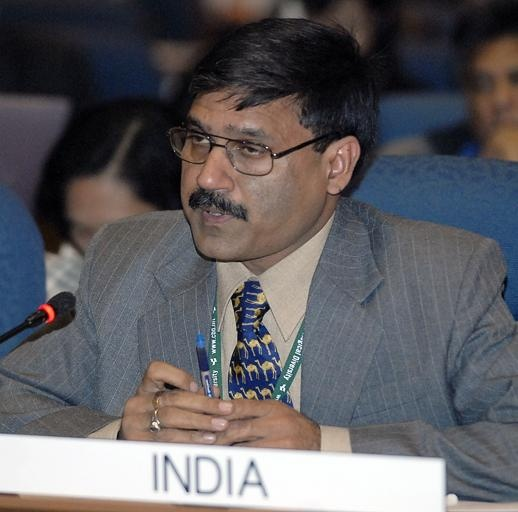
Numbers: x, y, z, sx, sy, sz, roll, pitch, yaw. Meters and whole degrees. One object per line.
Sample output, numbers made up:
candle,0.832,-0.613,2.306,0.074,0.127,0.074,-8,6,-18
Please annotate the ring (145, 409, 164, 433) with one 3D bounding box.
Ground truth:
ring,-0.211,0.332,1.298,0.025,0.042,0.038,-6,31,-10

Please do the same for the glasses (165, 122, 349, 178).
glasses,0.026,-0.252,1.484,0.396,0.089,0.155,-6,29,-12

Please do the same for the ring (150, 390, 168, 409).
ring,-0.204,0.296,1.323,0.014,0.033,0.029,15,0,-13
